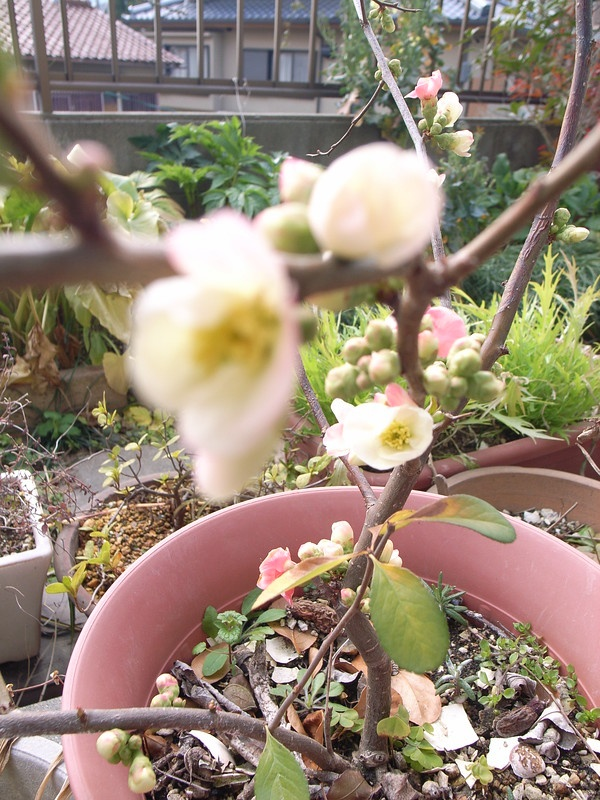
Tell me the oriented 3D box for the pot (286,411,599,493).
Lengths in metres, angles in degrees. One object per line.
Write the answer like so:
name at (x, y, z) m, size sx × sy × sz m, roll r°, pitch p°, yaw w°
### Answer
pot at (0.462, 0.138, 1.694) m, size 0.414 × 0.118 × 0.339 m, roll 3°, pitch 18°, yaw 13°

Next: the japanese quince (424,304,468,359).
japanese quince at (0.103, -0.052, 0.509) m, size 0.041 × 0.036 × 0.013 m, roll -3°, pitch 11°, yaw 11°

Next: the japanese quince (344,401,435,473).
japanese quince at (0.056, 0.031, 0.477) m, size 0.027 × 0.051 × 0.050 m, roll -9°, pitch 68°, yaw -10°

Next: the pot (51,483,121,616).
pot at (-0.528, 0.351, 1.558) m, size 0.111 × 0.279 × 0.253 m, roll 10°, pitch 65°, yaw -30°
